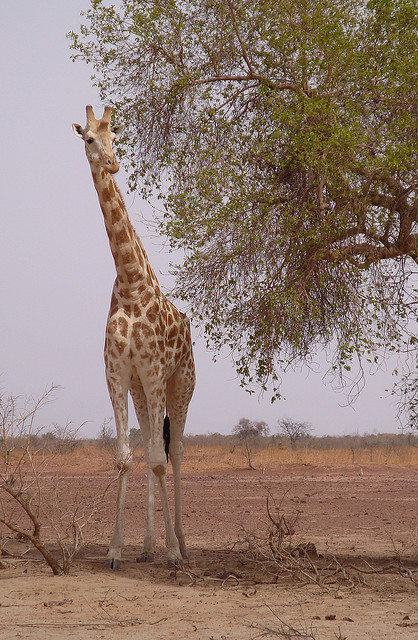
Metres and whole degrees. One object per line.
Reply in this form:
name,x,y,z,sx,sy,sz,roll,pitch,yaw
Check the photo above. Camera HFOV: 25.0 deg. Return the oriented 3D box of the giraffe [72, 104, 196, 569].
giraffe,-0.743,0.396,9.860,0.875,4.218,2.843,-3,-20,9
